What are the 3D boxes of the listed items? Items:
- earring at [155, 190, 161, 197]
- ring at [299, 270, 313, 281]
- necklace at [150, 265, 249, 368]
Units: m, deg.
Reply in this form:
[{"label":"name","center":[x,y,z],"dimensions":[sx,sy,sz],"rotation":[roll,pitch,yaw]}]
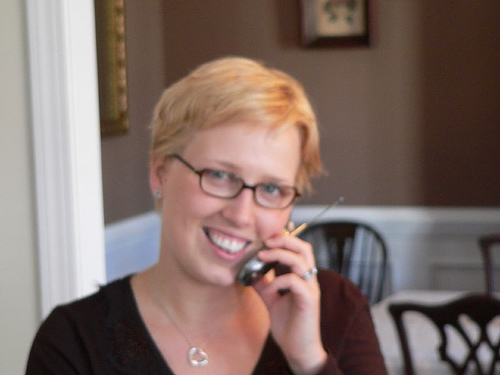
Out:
[{"label":"earring","center":[-0.287,0.019,1.747],"dimensions":[0.015,0.018,0.016],"rotation":[0,-12,3]},{"label":"ring","center":[0.172,0.264,1.697],"dimensions":[0.022,0.030,0.025],"rotation":[-6,41,-10]},{"label":"necklace","center":[-0.170,0.397,1.737],"dimensions":[0.289,0.341,0.030],"rotation":[5,-21,-12]}]
